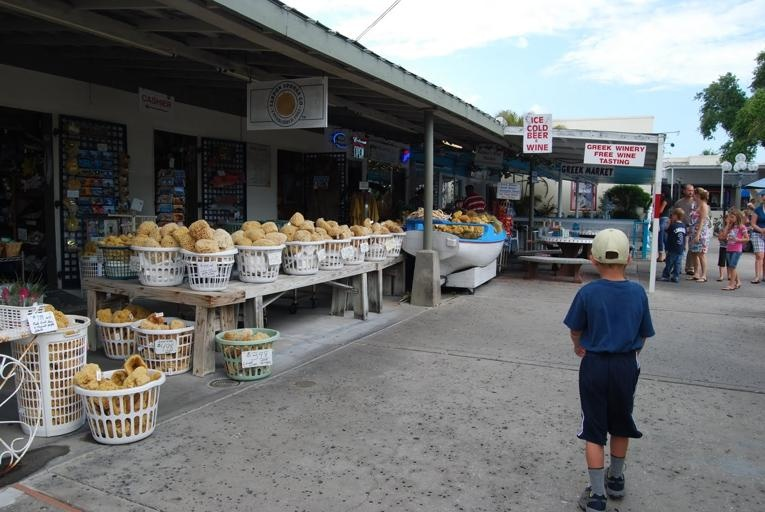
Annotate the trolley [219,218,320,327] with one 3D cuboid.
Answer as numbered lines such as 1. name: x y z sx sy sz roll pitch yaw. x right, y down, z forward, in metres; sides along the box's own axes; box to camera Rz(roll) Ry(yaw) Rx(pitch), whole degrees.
1. trolley: -1.469 0.141 6.849 1.131 0.825 1.176 5 6 40

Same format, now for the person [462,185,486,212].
1. person: 2.138 -1.399 13.083 0.508 0.617 1.904 0 6 7

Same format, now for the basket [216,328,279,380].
1. basket: -1.501 1.031 5.810 0.599 0.382 0.598 1 3 30

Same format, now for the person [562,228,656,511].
1. person: 1.641 0.816 3.987 0.578 1.993 0.410 -5 8 -27

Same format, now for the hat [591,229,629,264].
1. hat: 1.715 -0.097 4.066 0.215 0.164 0.323 2 23 17
